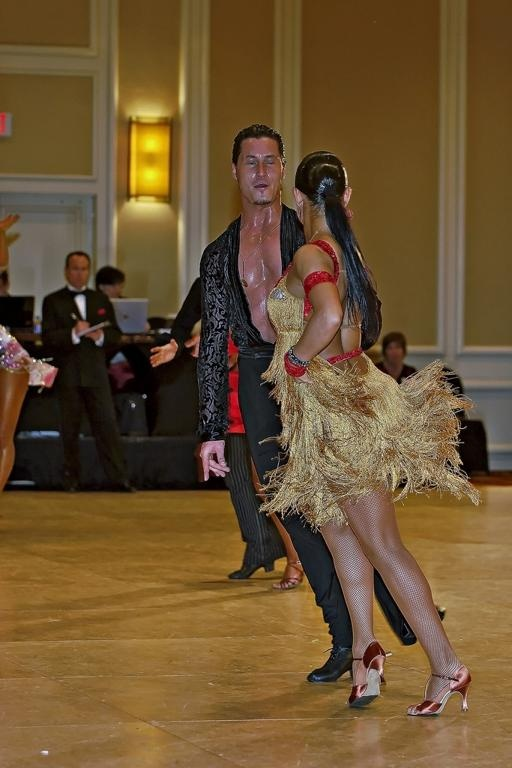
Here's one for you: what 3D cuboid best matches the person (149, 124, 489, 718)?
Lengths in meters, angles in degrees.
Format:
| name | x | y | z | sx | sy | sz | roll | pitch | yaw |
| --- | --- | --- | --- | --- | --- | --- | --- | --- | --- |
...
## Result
| name | x | y | z | sx | sy | sz | roll | pitch | yaw |
| --- | --- | --- | --- | --- | --- | --- | --- | --- | --- |
| person | 0.170 | 0.013 | 1.578 | 0.438 | 1.204 | 0.756 | 2 | 0 | -25 |

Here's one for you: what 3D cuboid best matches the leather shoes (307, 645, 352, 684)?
| name | x | y | z | sx | sy | sz | roll | pitch | yaw |
| --- | --- | --- | --- | --- | --- | --- | --- | --- | --- |
| leather shoes | 0.171 | 0.623 | 1.597 | 0.152 | 0.060 | 0.047 | 4 | -10 | -37 |

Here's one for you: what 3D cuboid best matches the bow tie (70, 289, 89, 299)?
| name | x | y | z | sx | sy | sz | roll | pitch | yaw |
| --- | --- | --- | --- | --- | --- | --- | --- | --- | --- |
| bow tie | -1.155 | -0.579 | 4.641 | 0.084 | 0.051 | 0.074 | -2 | 3 | 7 |

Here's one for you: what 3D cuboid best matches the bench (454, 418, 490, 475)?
| name | x | y | z | sx | sy | sz | roll | pitch | yaw |
| --- | --- | --- | --- | --- | --- | --- | --- | --- | --- |
| bench | 2.034 | 0.583 | 6.599 | 0.407 | 0.510 | 0.396 | -5 | -9 | 38 |

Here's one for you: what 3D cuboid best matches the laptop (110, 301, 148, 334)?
| name | x | y | z | sx | sy | sz | roll | pitch | yaw |
| --- | --- | --- | --- | --- | --- | --- | --- | --- | --- |
| laptop | -0.827 | -0.463 | 4.831 | 0.299 | 0.242 | 0.205 | 1 | 14 | -6 |
